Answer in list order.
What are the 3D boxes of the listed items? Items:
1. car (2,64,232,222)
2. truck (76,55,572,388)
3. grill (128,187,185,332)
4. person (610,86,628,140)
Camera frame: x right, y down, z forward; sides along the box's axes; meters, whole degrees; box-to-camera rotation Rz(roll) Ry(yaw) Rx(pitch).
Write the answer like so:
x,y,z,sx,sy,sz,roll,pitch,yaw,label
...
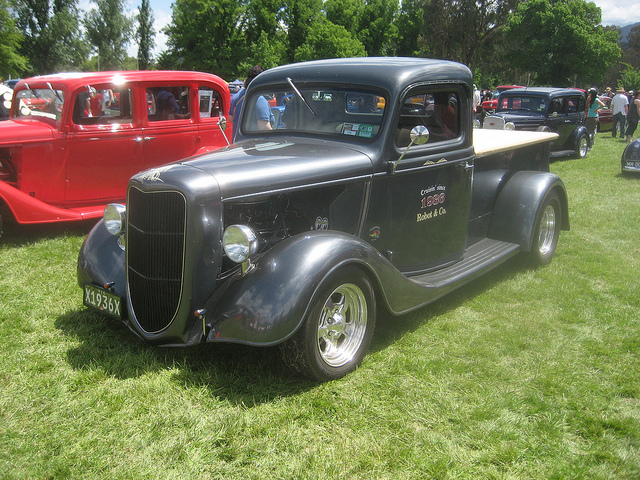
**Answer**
x,y,z,sx,sy,sz,roll,pitch,yaw,label
-3.106,-1.506,8.998,3.567,1.756,2.049,-20,31,-39,car
0.412,-0.240,6.222,2.886,2.606,5.084,9,15,44,truck
-1.403,0.173,4.688,0.643,1.207,0.220,13,18,35,grill
10.858,-4.626,20.129,0.554,1.773,1.479,10,17,28,person
